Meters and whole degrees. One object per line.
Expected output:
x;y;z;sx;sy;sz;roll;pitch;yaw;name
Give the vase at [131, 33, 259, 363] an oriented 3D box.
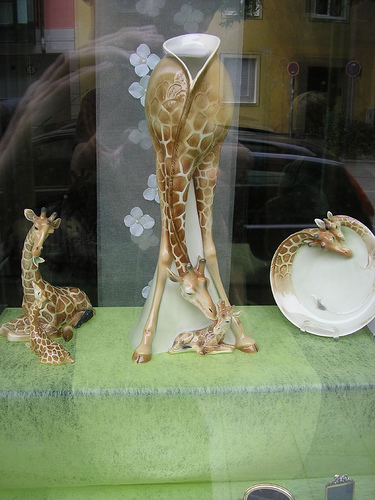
0.016;-0.069;0.666;0.196;0.509;0.217;12;22;32;vase
